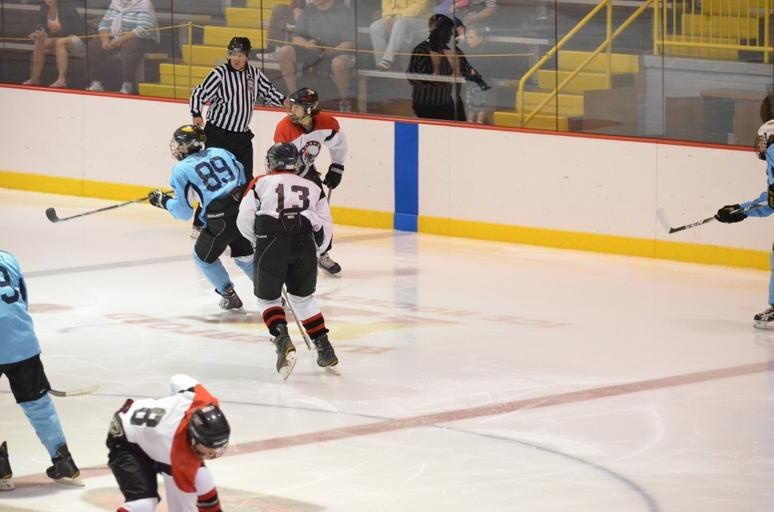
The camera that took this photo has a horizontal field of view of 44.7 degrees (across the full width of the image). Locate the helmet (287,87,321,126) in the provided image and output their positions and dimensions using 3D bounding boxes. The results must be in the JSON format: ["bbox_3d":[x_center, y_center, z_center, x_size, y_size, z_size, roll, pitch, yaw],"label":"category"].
[{"bbox_3d":[-0.693,-1.299,7.989,0.361,0.292,0.230,8,39,-12],"label":"helmet"}]

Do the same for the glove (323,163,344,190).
[{"bbox_3d":[-0.503,-0.731,8.744,0.168,0.252,0.067,23,37,-11],"label":"glove"}]

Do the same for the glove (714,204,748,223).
[{"bbox_3d":[2.805,-0.333,7.682,0.223,0.068,0.137,-9,38,14],"label":"glove"}]

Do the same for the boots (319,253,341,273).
[{"bbox_3d":[-0.519,0.086,8.823,0.292,0.110,0.105,28,51,29],"label":"boots"}]

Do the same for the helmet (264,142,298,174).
[{"bbox_3d":[-0.741,-0.674,6.471,0.212,0.195,0.219,-3,31,-19],"label":"helmet"}]

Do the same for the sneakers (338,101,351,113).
[{"bbox_3d":[-0.483,-1.696,10.709,0.119,0.095,0.167,-5,10,-23],"label":"sneakers"}]

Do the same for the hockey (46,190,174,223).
[{"bbox_3d":[-3.120,-0.545,10.698,1.570,0.180,0.267,-12,9,28],"label":"hockey"}]

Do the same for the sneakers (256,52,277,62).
[{"bbox_3d":[-1.426,-2.346,11.163,0.327,0.081,0.117,3,8,18],"label":"sneakers"}]

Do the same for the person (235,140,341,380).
[{"bbox_3d":[-0.682,0.036,6.451,0.671,1.585,0.433,0,11,-8],"label":"person"}]

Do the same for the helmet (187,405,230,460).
[{"bbox_3d":[-0.827,0.826,4.370,0.144,0.243,0.142,-6,13,-33],"label":"helmet"}]

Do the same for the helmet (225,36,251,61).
[{"bbox_3d":[-1.361,-1.925,8.684,0.284,0.250,0.292,2,4,0],"label":"helmet"}]

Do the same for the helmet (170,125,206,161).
[{"bbox_3d":[-1.556,-0.896,7.425,0.319,0.246,0.250,10,20,34],"label":"helmet"}]

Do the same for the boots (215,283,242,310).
[{"bbox_3d":[-1.344,0.353,7.901,0.229,0.190,0.104,14,50,24],"label":"boots"}]

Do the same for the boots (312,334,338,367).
[{"bbox_3d":[-0.413,0.688,6.643,0.126,0.240,0.284,-9,-10,-12],"label":"boots"}]

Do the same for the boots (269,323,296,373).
[{"bbox_3d":[-0.684,0.648,6.436,0.137,0.356,0.191,-29,55,-32],"label":"boots"}]
